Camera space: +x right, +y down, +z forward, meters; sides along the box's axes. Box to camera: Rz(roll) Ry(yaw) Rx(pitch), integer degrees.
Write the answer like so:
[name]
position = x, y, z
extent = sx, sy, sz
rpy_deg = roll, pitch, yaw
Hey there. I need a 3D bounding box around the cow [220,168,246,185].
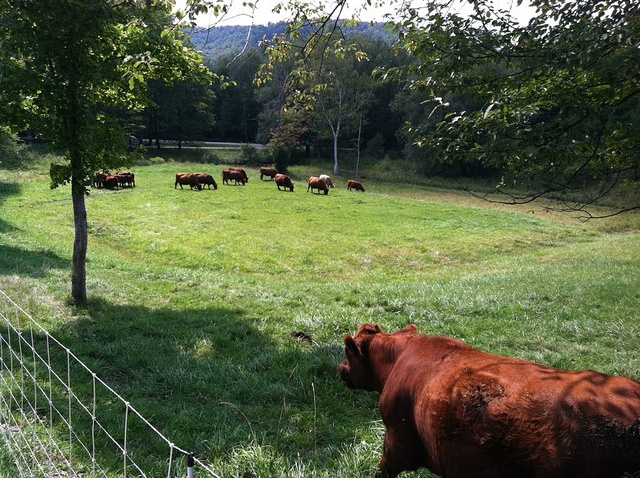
[cow]
position = -6.682, -5.082, 52.457
extent = 2.481, 1.490, 0.883
rpy_deg = -4, 28, -19
